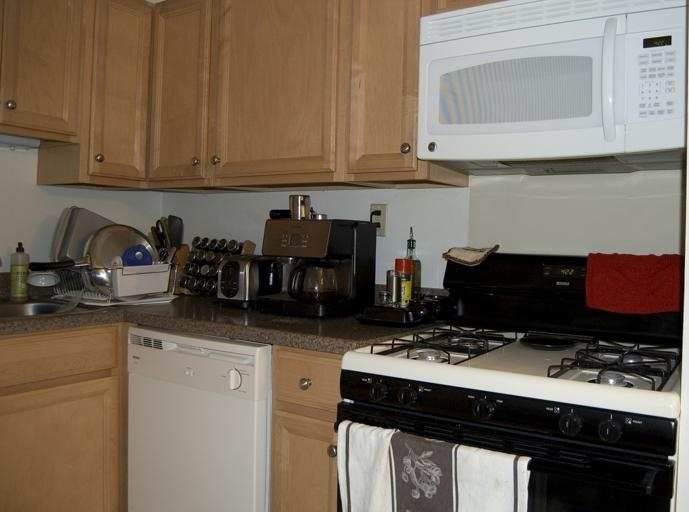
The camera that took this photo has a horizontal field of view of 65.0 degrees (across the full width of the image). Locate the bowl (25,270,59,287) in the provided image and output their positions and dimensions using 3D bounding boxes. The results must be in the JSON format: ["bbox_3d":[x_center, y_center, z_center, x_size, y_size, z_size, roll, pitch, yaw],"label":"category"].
[{"bbox_3d":[-1.329,0.097,2.382,0.113,0.084,0.192,-3,6,-21],"label":"bowl"}]

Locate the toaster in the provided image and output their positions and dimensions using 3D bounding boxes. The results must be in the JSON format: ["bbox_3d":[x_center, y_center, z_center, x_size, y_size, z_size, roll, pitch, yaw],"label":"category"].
[{"bbox_3d":[-0.392,0.076,2.293,0.152,0.194,0.293,7,11,24],"label":"toaster"}]

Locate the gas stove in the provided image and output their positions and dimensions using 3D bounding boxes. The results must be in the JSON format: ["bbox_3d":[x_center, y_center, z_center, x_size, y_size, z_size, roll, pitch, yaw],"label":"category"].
[{"bbox_3d":[0.293,0.286,2.006,1.017,0.193,1.648,6,7,31],"label":"gas stove"}]

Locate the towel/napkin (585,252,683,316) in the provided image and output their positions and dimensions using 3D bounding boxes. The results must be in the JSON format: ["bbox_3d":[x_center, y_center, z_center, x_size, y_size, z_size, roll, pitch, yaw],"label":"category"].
[{"bbox_3d":[0.919,0.088,1.717,0.267,0.188,0.093,2,6,28],"label":"towel/napkin"}]

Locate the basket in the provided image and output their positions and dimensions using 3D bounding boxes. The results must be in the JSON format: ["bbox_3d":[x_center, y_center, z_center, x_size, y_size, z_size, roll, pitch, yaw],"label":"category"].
[{"bbox_3d":[-1.038,0.114,2.373,0.539,0.185,0.359,-2,5,-11],"label":"basket"}]

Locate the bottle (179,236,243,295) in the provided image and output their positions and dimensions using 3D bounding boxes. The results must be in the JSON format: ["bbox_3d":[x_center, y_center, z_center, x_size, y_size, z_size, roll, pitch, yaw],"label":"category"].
[{"bbox_3d":[-0.630,0.014,2.614,0.256,0.316,0.227,8,8,42],"label":"bottle"}]
